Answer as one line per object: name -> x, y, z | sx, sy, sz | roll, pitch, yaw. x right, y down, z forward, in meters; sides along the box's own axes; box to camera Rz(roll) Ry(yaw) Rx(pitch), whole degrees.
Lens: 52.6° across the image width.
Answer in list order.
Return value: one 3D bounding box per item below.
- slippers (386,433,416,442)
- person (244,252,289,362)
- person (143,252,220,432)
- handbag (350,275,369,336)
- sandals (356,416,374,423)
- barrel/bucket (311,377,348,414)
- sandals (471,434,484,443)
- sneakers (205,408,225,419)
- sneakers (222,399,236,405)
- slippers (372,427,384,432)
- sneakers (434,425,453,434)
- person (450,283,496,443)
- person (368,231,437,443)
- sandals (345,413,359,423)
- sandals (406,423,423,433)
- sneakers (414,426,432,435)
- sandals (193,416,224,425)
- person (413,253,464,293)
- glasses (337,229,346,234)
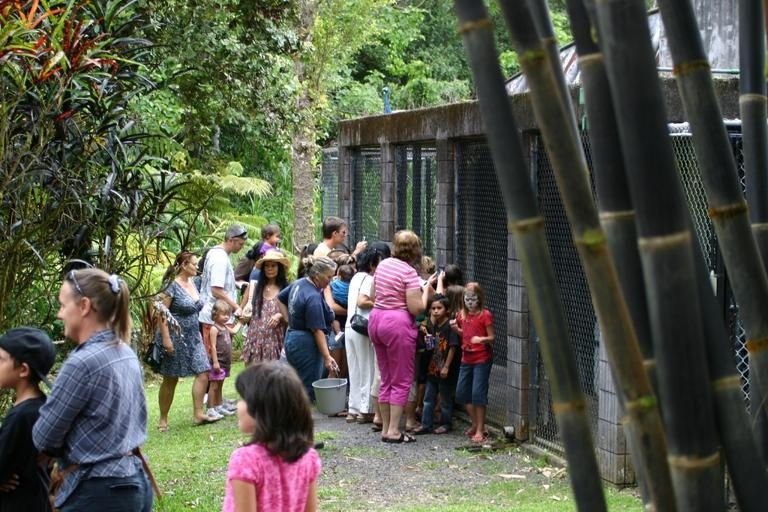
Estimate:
slippers -> 0.172, 1.878, 7.981 | 0.242, 0.081, 0.126 | 1, 0, -13
person -> -1.383, 0.709, 8.825 | 0.534, 1.493, 0.480 | 1, 15, -21
person -> -2.178, 0.900, 8.442 | 0.769, 1.947, 0.476 | -1, 5, -29
handbag -> -0.258, 0.565, 8.384 | 0.179, 0.636, 0.368 | -2, 5, -10
sandals -> -0.204, 1.835, 8.784 | 0.213, 0.106, 0.075 | -3, 6, -22
barrel/bucket -> -0.557, 1.491, 8.264 | 0.360, 0.292, 0.361 | -1, -4, 0
sandals -> 0.949, 1.812, 7.747 | 0.150, 0.141, 0.057 | 2, -4, -7
sneakers -> -1.946, 1.805, 8.905 | 0.082, 0.104, 0.221 | 2, -3, -43
sneakers -> -1.903, 1.786, 9.525 | 0.155, 0.074, 0.055 | -2, 16, 5
slippers -> -0.062, 1.874, 8.398 | 0.044, 0.056, 0.122 | -4, -11, 41
sneakers -> 0.642, 1.851, 8.287 | 0.193, 0.089, 0.071 | 10, 5, -27
person -> 0.917, 1.070, 7.756 | 0.342, 1.622, 0.486 | -3, 6, -22
person -> 0.129, 0.835, 7.788 | 0.564, 2.169, 0.402 | -1, 5, -1
sandals -> -0.368, 1.832, 8.805 | 0.064, 0.073, 0.155 | -4, -15, 26
sandals -> 0.335, 1.839, 8.269 | 0.172, 0.081, 0.065 | -6, -6, 20
sneakers -> 0.422, 1.847, 8.237 | 0.204, 0.093, 0.073 | 3, -3, -8
sandals -> -2.013, 1.846, 8.823 | 0.281, 0.127, 0.105 | -2, 8, -20
person -> 0.598, 0.184, 8.264 | 0.296, 0.352, 0.972 | 2, 10, -22
glasses -> -0.528, -0.300, 9.756 | 0.068, 0.073, 0.079 | 9, 16, -22
